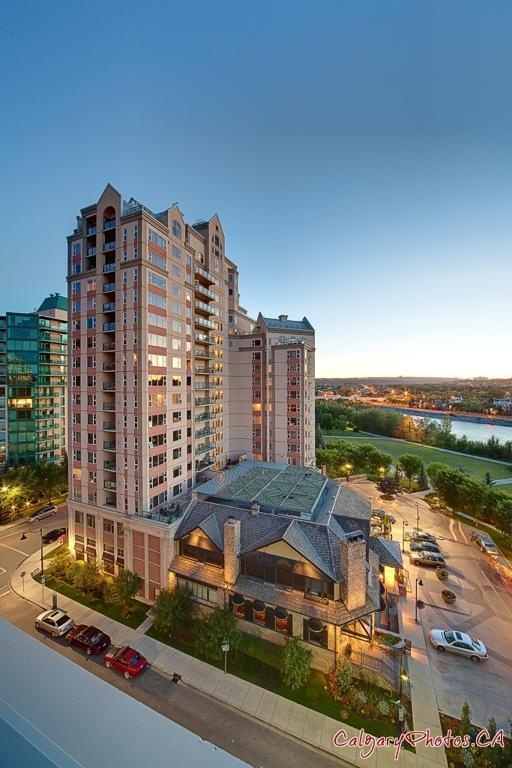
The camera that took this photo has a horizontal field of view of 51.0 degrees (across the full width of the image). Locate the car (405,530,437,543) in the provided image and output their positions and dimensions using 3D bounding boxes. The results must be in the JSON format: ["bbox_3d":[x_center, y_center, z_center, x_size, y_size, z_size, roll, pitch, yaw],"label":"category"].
[{"bbox_3d":[15.131,14.358,49.578,2.623,0.848,1.185,7,-3,-3],"label":"car"}]

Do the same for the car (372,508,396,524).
[{"bbox_3d":[13.244,13.818,55.606,2.168,0.645,1.312,21,-7,-28],"label":"car"}]

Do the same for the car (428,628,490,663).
[{"bbox_3d":[12.905,16.621,34.384,3.173,1.019,1.433,7,12,17],"label":"car"}]

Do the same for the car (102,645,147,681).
[{"bbox_3d":[-8.017,17.082,32.810,2.278,0.982,1.377,18,10,26],"label":"car"}]

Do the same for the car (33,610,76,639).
[{"bbox_3d":[-13.745,16.217,36.274,2.292,1.065,1.419,16,9,23],"label":"car"}]

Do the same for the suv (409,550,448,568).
[{"bbox_3d":[14.362,14.807,45.213,1.972,0.828,1.257,7,-4,3],"label":"suv"}]

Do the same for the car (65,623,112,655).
[{"bbox_3d":[-10.748,16.388,34.528,2.386,0.886,1.403,14,8,25],"label":"car"}]

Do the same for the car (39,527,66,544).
[{"bbox_3d":[-18.663,14.015,49.490,1.179,0.624,2.050,4,6,13],"label":"car"}]
